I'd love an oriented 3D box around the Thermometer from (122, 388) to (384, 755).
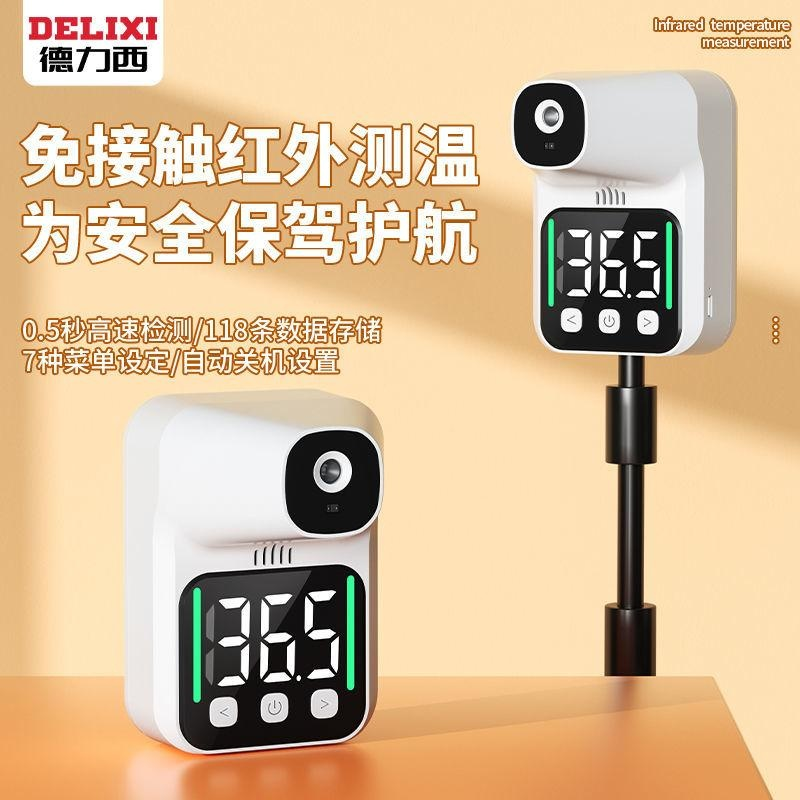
[{"bbox_3d":[-0.096,0.111,0.636,0.177,0.230,0.151,1,2,-11],"label":"Thermometer"}]
